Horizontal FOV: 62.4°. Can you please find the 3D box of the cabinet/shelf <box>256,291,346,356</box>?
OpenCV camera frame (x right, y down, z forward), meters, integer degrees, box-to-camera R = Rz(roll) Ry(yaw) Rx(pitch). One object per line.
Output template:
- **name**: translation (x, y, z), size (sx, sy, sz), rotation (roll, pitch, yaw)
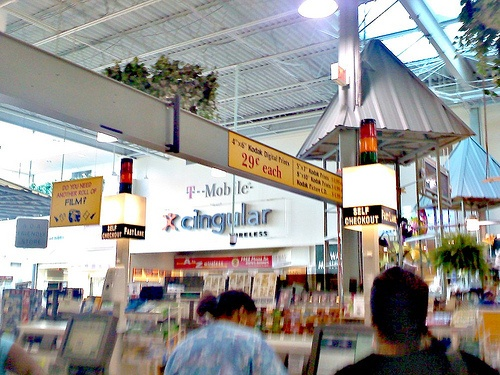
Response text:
- **cabinet/shelf**: translation (0.386, 1.044, 3.164), size (0.660, 0.314, 0.960), rotation (-1, -8, 9)
